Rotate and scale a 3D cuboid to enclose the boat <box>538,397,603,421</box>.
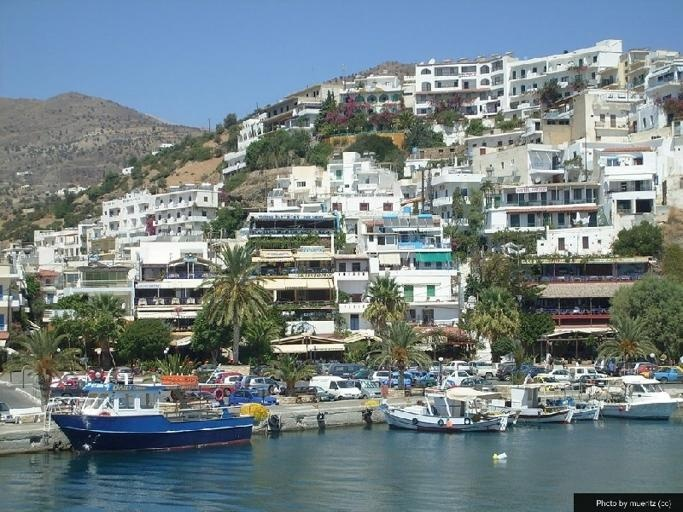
[{"bbox_3d":[21.004,14.277,123.212,5.968,2.061,2.048,1,-1,4],"label":"boat"}]

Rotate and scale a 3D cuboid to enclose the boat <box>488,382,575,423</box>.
[{"bbox_3d":[17.054,13.712,122.626,8.145,3.269,2.868,-1,0,24],"label":"boat"}]

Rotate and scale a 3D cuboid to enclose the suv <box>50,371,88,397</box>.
[{"bbox_3d":[-24.939,12.289,124.222,2.322,1.253,4.009,0,2,-3],"label":"suv"}]

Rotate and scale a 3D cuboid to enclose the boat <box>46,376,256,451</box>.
[{"bbox_3d":[-15.700,13.614,114.256,16.657,5.954,6.302,0,-1,-27],"label":"boat"}]

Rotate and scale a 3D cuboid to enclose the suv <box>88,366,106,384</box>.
[{"bbox_3d":[-23.025,11.371,126.753,1.759,0.960,3.111,1,-7,-9],"label":"suv"}]

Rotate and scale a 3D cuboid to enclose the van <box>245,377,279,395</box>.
[{"bbox_3d":[-7.102,12.088,123.267,2.500,1.316,1.400,-2,1,-7],"label":"van"}]

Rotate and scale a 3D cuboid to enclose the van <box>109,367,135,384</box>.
[{"bbox_3d":[-18.585,10.670,113.493,1.750,1.495,3.924,1,2,-7],"label":"van"}]
